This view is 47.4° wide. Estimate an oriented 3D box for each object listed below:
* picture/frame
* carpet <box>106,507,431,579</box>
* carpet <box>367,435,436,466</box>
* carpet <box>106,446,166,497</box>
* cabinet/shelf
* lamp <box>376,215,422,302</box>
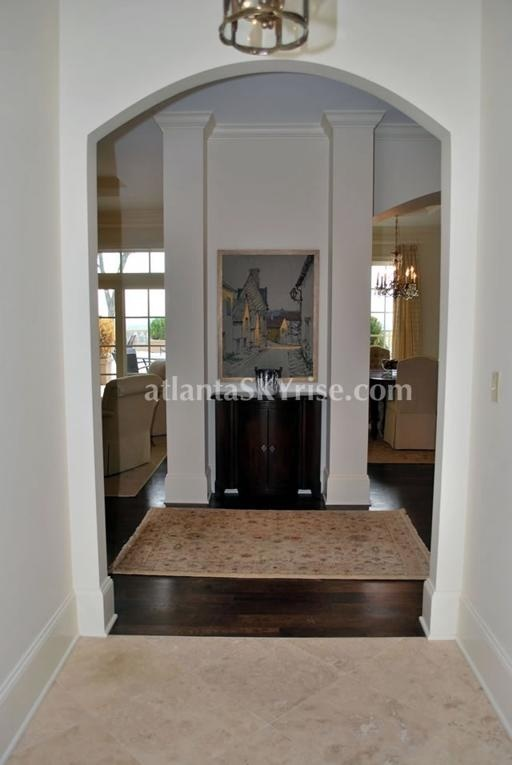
[{"bbox_3d":[0.097,-0.556,4.525,0.888,1.262,0.052,0,9,1],"label":"picture/frame"},{"bbox_3d":[0.127,0.953,3.526,1.698,0.023,1.261,0,3,1],"label":"carpet"},{"bbox_3d":[1.413,0.699,5.694,0.609,0.022,0.817,1,6,12],"label":"carpet"},{"bbox_3d":[-1.014,0.729,5.244,0.302,0.137,1.779,0,6,-1],"label":"carpet"},{"bbox_3d":[0.089,0.545,4.454,0.792,0.860,0.461,0,-16,2],"label":"cabinet/shelf"},{"bbox_3d":[1.842,-1.642,7.600,0.463,1.099,0.461,0,4,5],"label":"lamp"}]
